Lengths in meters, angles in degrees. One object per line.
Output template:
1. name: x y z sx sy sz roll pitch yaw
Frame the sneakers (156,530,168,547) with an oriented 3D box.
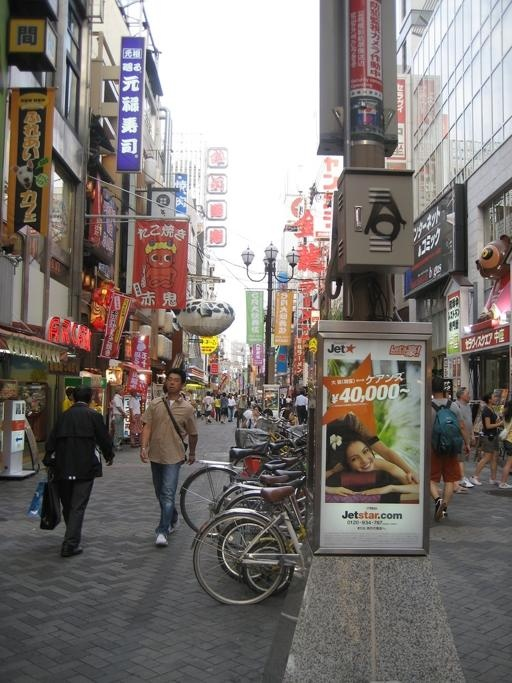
1. sneakers: -1.042 2.194 6.014 0.132 0.128 0.218 3 -8 -12

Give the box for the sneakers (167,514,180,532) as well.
1. sneakers: -1.041 2.297 6.794 0.120 0.160 0.367 9 -35 1

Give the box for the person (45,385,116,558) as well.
1. person: -1.906 1.347 5.841 0.714 1.719 0.614 4 -8 -18

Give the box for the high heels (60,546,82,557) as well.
1. high heels: -1.849 2.123 5.499 0.219 0.093 0.137 6 -9 -32

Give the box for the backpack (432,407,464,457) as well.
1. backpack: 2.671 1.250 7.680 0.387 0.712 0.360 -1 -8 16

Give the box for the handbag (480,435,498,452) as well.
1. handbag: 4.748 2.074 11.120 0.263 0.357 0.461 -4 -8 44
